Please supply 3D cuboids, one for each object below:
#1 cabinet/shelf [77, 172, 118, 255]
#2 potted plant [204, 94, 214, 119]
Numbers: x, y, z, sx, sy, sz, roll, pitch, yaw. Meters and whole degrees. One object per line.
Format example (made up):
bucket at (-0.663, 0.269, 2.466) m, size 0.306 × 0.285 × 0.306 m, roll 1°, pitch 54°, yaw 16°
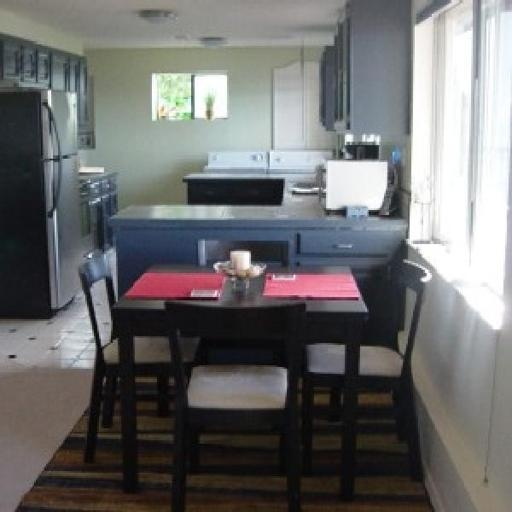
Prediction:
cabinet/shelf at (-1.522, -0.417, 4.616) m, size 0.357 × 0.817 × 0.761 m, roll -1°, pitch 9°, yaw -5°
potted plant at (-0.632, -2.023, 6.609) m, size 0.135 × 0.369 × 0.171 m, roll -2°, pitch 9°, yaw -5°
